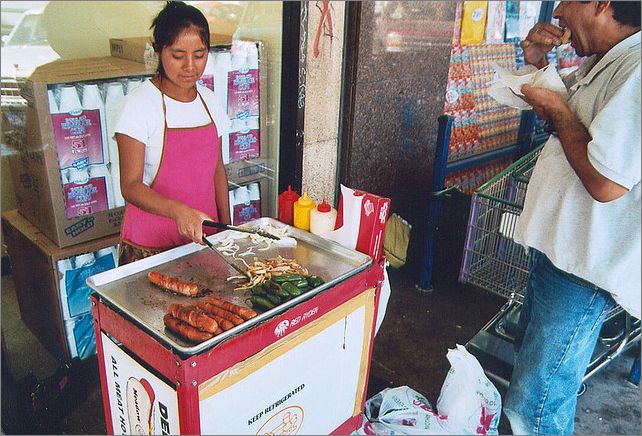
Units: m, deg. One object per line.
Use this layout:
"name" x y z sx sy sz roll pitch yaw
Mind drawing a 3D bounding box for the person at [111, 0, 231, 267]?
"person" -0.842 -0.490 2.913 0.620 1.488 0.772 10 26 27

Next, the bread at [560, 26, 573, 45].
"bread" 1.412 -1.032 2.791 0.075 0.108 0.025 -1 -2 -2

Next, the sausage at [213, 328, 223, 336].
"sausage" -0.475 0.522 2.257 0.032 0.026 0.017 -48 31 -3

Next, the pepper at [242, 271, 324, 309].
"pepper" -0.180 0.359 2.509 0.312 0.100 0.174 -20 52 -22

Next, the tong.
"tong" -0.446 0.105 2.732 0.349 0.293 0.423 1 23 8
